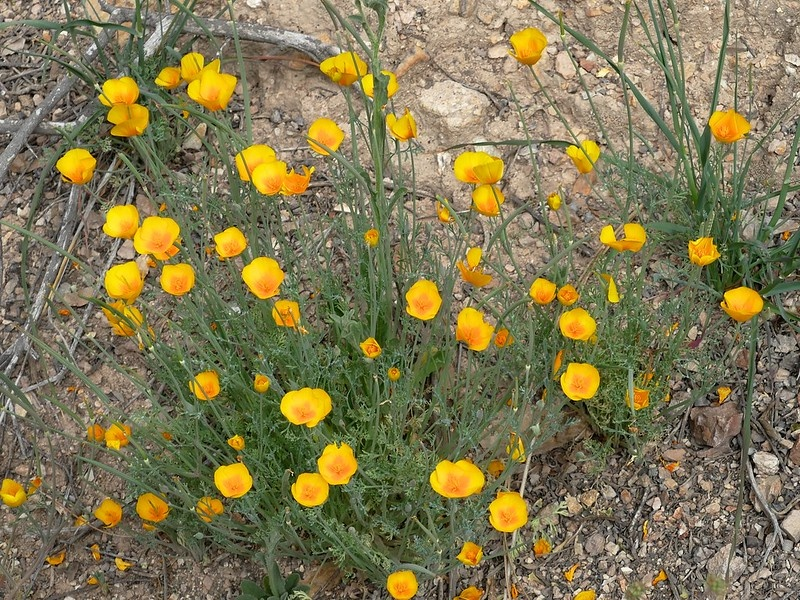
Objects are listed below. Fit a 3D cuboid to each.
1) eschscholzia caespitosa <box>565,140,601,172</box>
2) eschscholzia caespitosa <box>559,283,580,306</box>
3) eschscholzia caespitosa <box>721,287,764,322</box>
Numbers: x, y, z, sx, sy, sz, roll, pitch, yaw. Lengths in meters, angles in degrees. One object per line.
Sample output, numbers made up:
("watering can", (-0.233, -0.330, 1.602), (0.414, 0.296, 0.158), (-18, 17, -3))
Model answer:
("eschscholzia caespitosa", (0.674, -0.521, 2.777), (0.117, 0.114, 0.133), (9, 34, 36))
("eschscholzia caespitosa", (0.579, -0.024, 2.551), (0.055, 0.059, 0.072), (3, 37, 6))
("eschscholzia caespitosa", (1.112, 0.032, 2.449), (0.117, 0.109, 0.178), (12, 26, 19))
